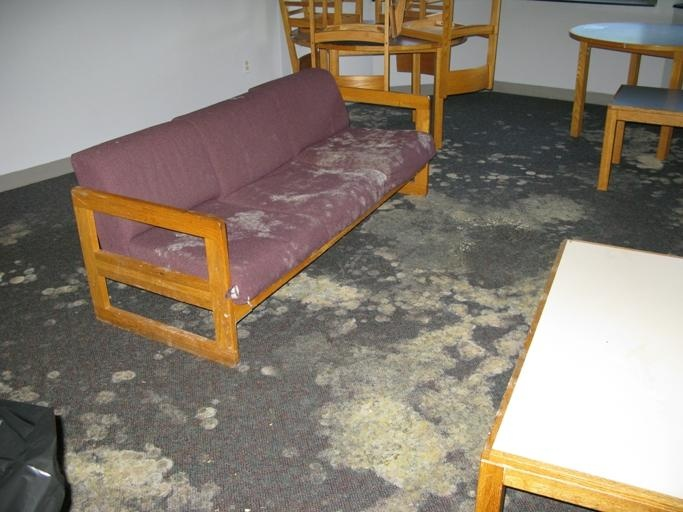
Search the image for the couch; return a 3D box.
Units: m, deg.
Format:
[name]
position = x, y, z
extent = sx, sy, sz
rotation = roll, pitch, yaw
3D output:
[couch]
position = -0.289, -0.428, 2.905
extent = 0.955, 0.712, 1.939
rotation = 19, 38, 22
